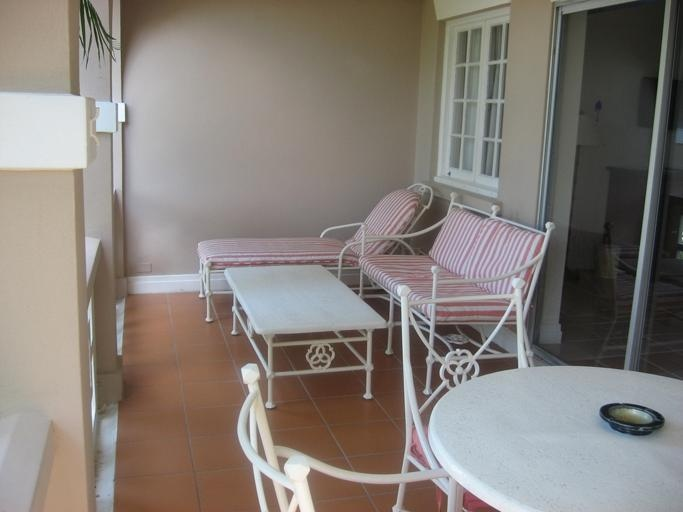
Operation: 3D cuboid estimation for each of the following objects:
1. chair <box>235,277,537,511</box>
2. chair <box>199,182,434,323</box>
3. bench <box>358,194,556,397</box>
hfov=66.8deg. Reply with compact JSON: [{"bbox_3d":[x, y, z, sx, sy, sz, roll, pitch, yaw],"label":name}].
[{"bbox_3d":[0.200,0.689,2.763,0.691,1.062,0.661,-3,30,-9],"label":"chair"},{"bbox_3d":[-0.295,-0.071,5.680,2.448,1.472,1.298,-3,14,-15],"label":"chair"},{"bbox_3d":[0.843,0.201,4.463,0.987,1.282,1.895,-2,11,-13],"label":"bench"}]
